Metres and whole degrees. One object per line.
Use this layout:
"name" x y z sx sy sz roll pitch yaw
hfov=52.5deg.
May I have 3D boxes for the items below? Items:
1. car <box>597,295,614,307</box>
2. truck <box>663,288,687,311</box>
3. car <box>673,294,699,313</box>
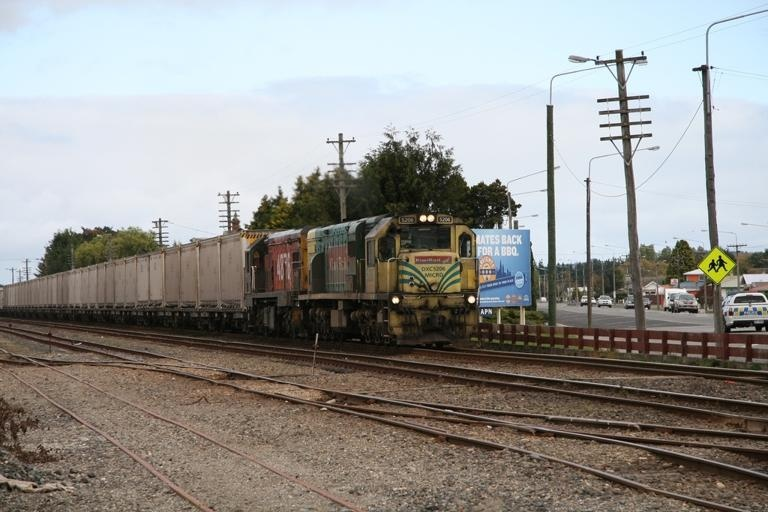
"car" 27.246 5.608 97.722 1.725 1.166 3.533 -1 -6 -4
"truck" 28.722 4.305 77.324 1.991 1.931 3.620 1 -7 -5
"car" 27.903 4.432 72.633 1.692 1.847 3.722 -1 4 9
